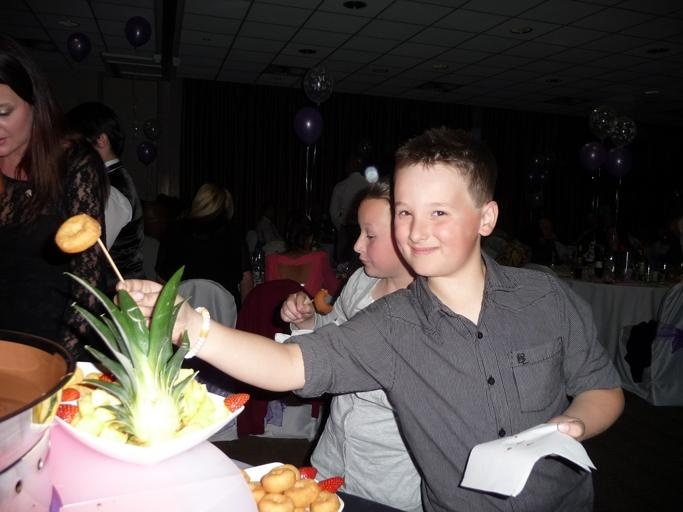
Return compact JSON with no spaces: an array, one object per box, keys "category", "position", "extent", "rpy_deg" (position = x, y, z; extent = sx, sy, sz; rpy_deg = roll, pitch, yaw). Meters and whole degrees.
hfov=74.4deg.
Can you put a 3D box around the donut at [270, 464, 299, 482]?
[{"category":"donut","position":[-0.146,0.530,1.116],"extent":[0.042,0.019,0.044],"rpy_deg":[-4,-13,22]}]

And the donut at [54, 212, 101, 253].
[{"category":"donut","position":[-0.575,-0.065,0.979],"extent":[0.086,0.088,0.033],"rpy_deg":[-21,-13,1]}]

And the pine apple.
[{"category":"pine apple","position":[-0.396,0.172,0.861],"extent":[0.211,0.342,0.210],"rpy_deg":[-3,3,-31]}]

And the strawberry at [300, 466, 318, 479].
[{"category":"strawberry","position":[-0.087,0.567,1.193],"extent":[0.029,0.016,0.036],"rpy_deg":[7,-9,-14]}]

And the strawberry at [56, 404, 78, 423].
[{"category":"strawberry","position":[-0.560,0.315,0.916],"extent":[0.015,0.041,0.036],"rpy_deg":[-36,-21,1]}]

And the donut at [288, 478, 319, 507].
[{"category":"donut","position":[-0.093,0.561,1.065],"extent":[0.050,0.021,0.053],"rpy_deg":[-3,14,3]}]
